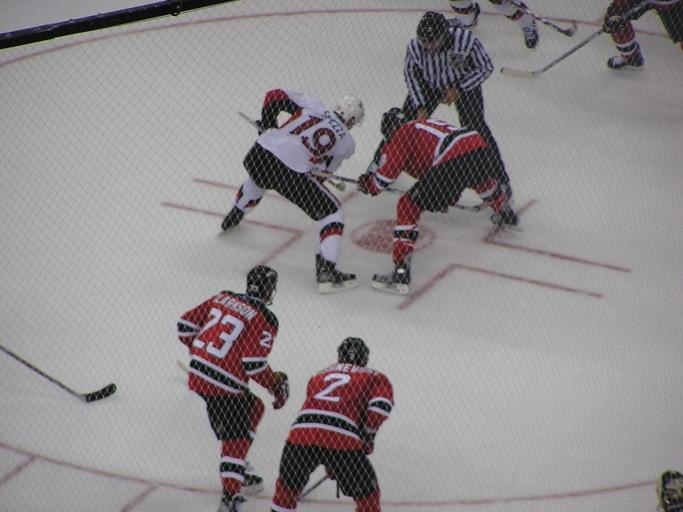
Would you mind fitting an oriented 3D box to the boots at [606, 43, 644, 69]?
[{"bbox_3d":[2.386,-1.651,9.477,0.299,0.151,0.226,8,-28,19],"label":"boots"}]

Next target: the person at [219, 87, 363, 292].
[{"bbox_3d":[-0.347,-0.411,7.895,1.050,0.640,0.810,38,-47,32],"label":"person"}]

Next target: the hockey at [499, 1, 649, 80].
[{"bbox_3d":[1.980,-1.811,9.568,1.369,0.284,0.114,-38,-41,21],"label":"hockey"}]

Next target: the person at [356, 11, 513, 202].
[{"bbox_3d":[0.681,-1.103,8.117,1.077,0.733,1.411,5,-65,15],"label":"person"}]

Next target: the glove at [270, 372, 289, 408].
[{"bbox_3d":[-0.373,0.793,6.696,0.073,0.231,0.090,1,-2,30],"label":"glove"}]

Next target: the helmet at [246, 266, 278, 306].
[{"bbox_3d":[-0.468,0.167,6.819,0.161,0.229,0.244,8,-74,13],"label":"helmet"}]

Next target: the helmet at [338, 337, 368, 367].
[{"bbox_3d":[0.066,0.551,6.538,0.132,0.174,0.175,4,13,10],"label":"helmet"}]

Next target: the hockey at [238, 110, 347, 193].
[{"bbox_3d":[-0.318,-0.709,7.769,0.885,0.161,0.145,38,2,-12],"label":"hockey"}]

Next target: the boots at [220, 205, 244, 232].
[{"bbox_3d":[-0.806,-0.248,8.089,0.095,0.103,0.261,52,-31,3],"label":"boots"}]

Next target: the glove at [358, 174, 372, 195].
[{"bbox_3d":[0.153,-0.508,7.861,0.085,0.124,0.034,15,-12,13],"label":"glove"}]

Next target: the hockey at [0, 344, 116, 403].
[{"bbox_3d":[-1.821,0.753,7.112,0.822,0.263,0.070,11,-28,8],"label":"hockey"}]
